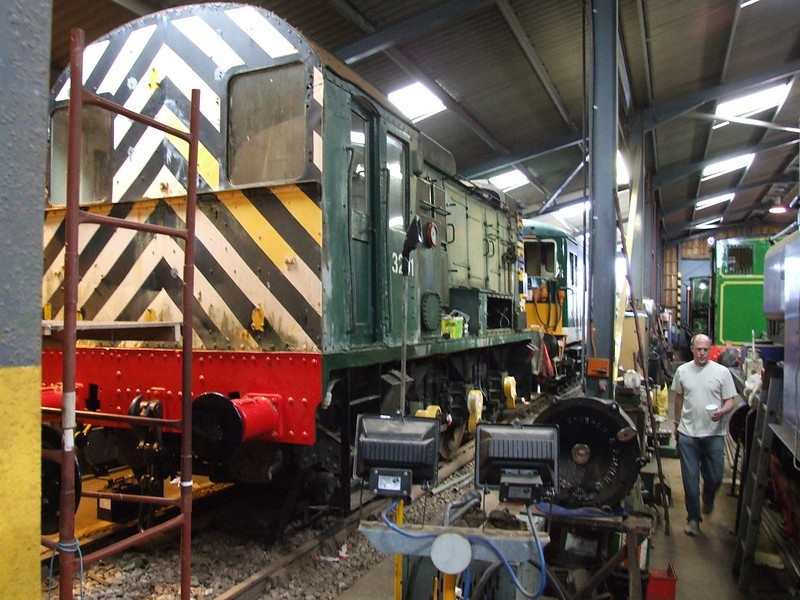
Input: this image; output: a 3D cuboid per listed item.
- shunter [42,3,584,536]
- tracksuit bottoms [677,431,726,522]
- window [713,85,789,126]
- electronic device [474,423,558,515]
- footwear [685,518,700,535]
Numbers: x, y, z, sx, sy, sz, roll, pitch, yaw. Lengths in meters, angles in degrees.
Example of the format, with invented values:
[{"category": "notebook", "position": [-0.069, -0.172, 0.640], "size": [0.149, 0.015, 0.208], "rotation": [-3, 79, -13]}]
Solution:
[{"category": "shunter", "position": [-0.603, -0.419, 6.778], "size": [2.030, 3.115, 7.182], "rotation": [0, 3, 22]}, {"category": "tracksuit bottoms", "position": [2.864, 1.634, 5.846], "size": [0.374, 0.778, 0.580], "rotation": [-5, -8, 38]}, {"category": "window", "position": [8.771, -4.748, 15.506], "size": [1.533, 0.580, 2.116], "rotation": [-6, -9, 32]}, {"category": "electronic device", "position": [0.640, 0.878, 3.396], "size": [0.395, 0.492, 0.256], "rotation": [-1, -14, 12]}, {"category": "footwear", "position": [2.677, 2.051, 5.674], "size": [0.160, 0.143, 0.164], "rotation": [-1, -7, 4]}]
